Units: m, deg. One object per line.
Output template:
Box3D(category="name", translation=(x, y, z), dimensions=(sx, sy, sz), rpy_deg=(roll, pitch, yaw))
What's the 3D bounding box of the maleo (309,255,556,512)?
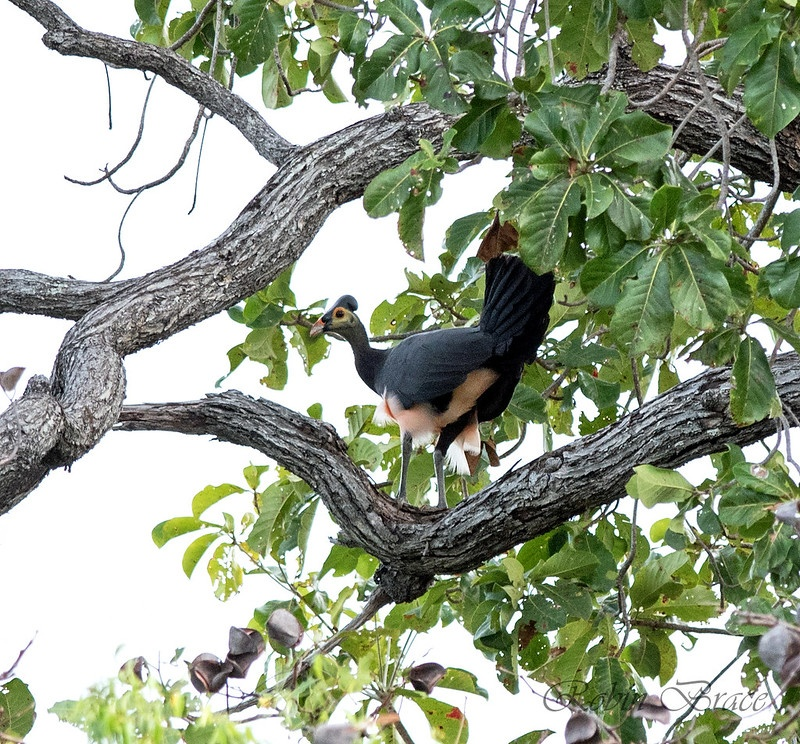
Box3D(category="maleo", translation=(0.124, 0.038, 6.472), dimensions=(1.151, 0.347, 0.911), rpy_deg=(-16, -111, 38))
